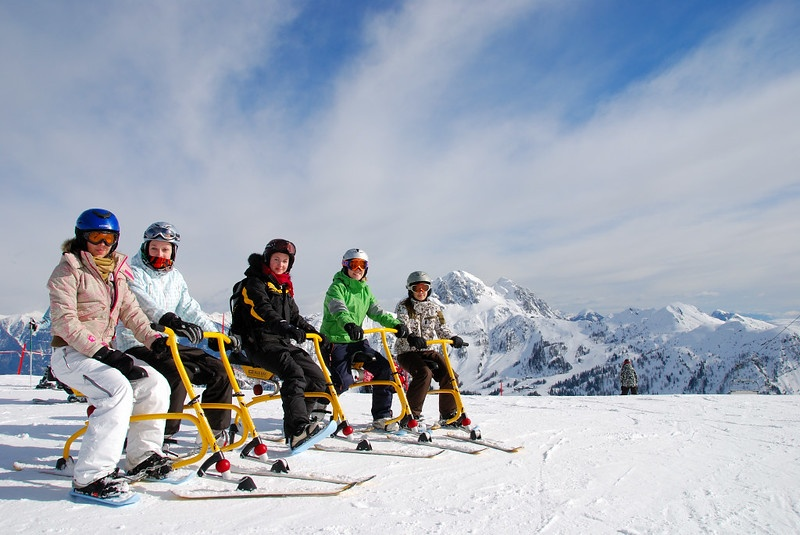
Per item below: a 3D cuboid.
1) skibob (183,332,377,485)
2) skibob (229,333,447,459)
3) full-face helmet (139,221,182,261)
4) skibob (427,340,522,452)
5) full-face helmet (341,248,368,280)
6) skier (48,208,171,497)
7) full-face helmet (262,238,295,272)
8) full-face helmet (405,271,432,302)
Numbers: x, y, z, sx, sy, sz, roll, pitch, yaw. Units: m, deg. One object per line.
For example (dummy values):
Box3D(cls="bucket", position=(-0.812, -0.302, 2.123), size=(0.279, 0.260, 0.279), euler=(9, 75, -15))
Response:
Box3D(cls="skibob", position=(-2.213, 1.923, 7.554), size=(2.248, 2.201, 1.002), euler=(-7, -11, 39))
Box3D(cls="skibob", position=(-1.018, 2.291, 9.357), size=(2.486, 2.276, 3.529), euler=(-3, -1, -27))
Box3D(cls="full-face helmet", position=(-3.922, -0.396, 8.529), size=(0.485, 0.605, 0.578), euler=(7, -18, -31))
Box3D(cls="skibob", position=(1.132, 2.402, 9.531), size=(1.178, 2.001, 2.149), euler=(2, -1, 13))
Box3D(cls="full-face helmet", position=(-0.829, -0.070, 9.511), size=(0.534, 0.669, 0.654), euler=(3, 2, -18))
Box3D(cls="skier", position=(-3.938, 1.080, 7.018), size=(1.530, 3.617, 1.599), euler=(-2, -7, 4))
Box3D(cls="full-face helmet", position=(-1.931, -0.197, 8.196), size=(0.448, 0.500, 0.517), euler=(6, -6, -23))
Box3D(cls="full-face helmet", position=(0.330, 0.354, 10.546), size=(0.593, 0.664, 0.623), euler=(0, -2, -8))
